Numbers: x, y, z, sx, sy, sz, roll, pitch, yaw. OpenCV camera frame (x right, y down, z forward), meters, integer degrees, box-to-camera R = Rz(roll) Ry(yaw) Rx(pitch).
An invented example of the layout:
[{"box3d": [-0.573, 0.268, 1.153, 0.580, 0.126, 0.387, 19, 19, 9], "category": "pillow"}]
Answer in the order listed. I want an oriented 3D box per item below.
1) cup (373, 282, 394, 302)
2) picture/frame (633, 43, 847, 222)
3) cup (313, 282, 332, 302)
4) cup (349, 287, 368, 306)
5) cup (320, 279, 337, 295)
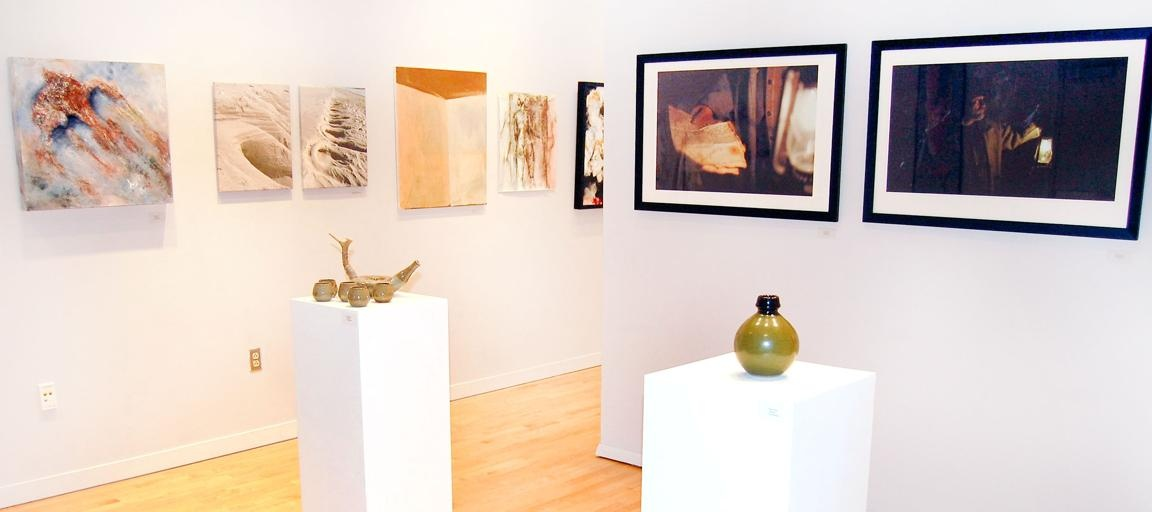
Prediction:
[{"box3d": [-1.564, 0.296, 5.465, 0.183, 0.112, 0.158, 1, -3, -7], "category": "cup"}, {"box3d": [1.507, -1.093, 5.799, 2.089, 1.231, 0.077, 2, 5, 21], "category": "picture/frame"}, {"box3d": [-2.061, 0.289, 5.488, 0.189, 0.117, 0.169, -1, 4, 18], "category": "cup"}, {"box3d": [-1.728, 0.315, 5.358, 0.184, 0.114, 0.161, -1, 3, -14], "category": "cup"}, {"box3d": [-2.041, 0.252, 5.594, 0.166, 0.116, 0.132, 5, 10, 35], "category": "cup"}]
